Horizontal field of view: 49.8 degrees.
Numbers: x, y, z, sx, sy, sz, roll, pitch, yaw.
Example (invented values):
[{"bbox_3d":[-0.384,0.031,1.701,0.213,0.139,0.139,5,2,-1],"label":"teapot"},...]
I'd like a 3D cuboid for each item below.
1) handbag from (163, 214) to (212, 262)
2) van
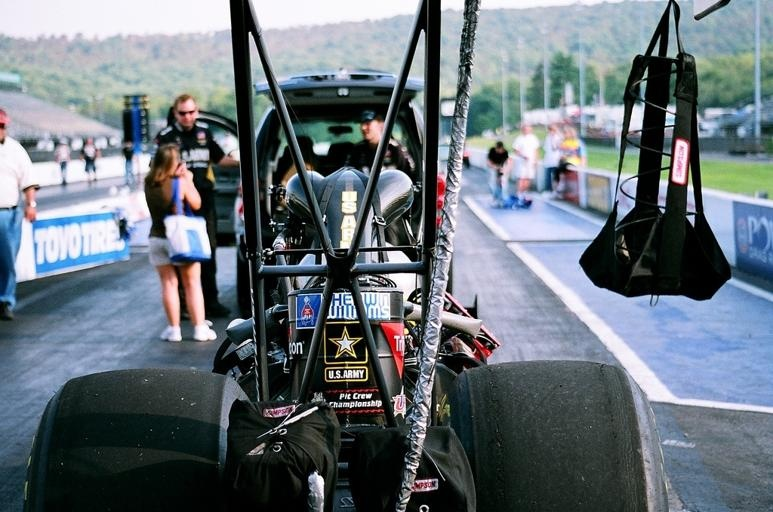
[{"bbox_3d":[-2.033,-0.220,8.539,0.212,0.663,0.458,-23,-18,35],"label":"handbag"},{"bbox_3d":[-0.487,-0.894,9.141,1.849,2.102,3.390,-1,10,-1],"label":"van"}]
